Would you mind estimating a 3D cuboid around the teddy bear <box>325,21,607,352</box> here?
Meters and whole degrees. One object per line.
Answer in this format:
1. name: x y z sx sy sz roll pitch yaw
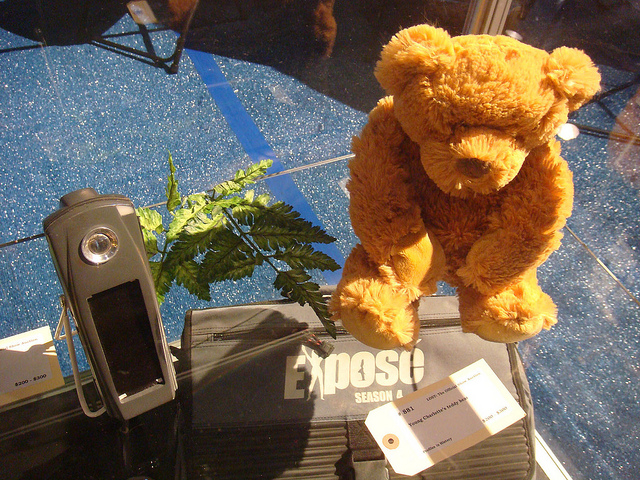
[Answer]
1. teddy bear: 0.306 -0.129 1.523 0.571 0.750 0.542 -4 42 -7
